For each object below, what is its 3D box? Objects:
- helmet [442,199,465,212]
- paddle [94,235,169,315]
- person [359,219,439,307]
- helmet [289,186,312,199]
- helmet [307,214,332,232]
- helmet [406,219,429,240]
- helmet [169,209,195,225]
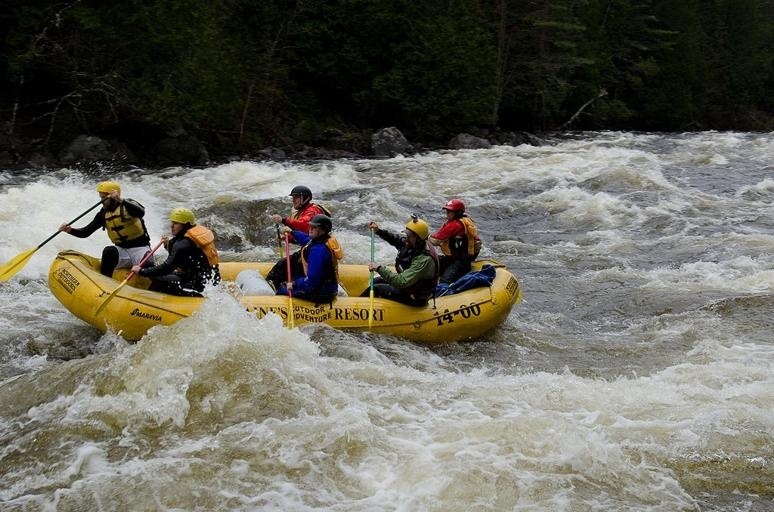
[{"bbox_3d":[1.238,-0.897,14.324,0.486,0.174,0.305,1,0,-13],"label":"helmet"},{"bbox_3d":[-4.076,0.347,12.786,2.046,0.225,0.139,-38,9,-12],"label":"paddle"},{"bbox_3d":[0.193,0.173,13.785,1.188,1.637,0.927,6,58,-17],"label":"person"},{"bbox_3d":[-1.523,-1.122,14.123,0.325,0.151,0.224,-6,9,-16],"label":"helmet"},{"bbox_3d":[-1.061,-0.518,12.832,0.325,0.320,0.298,-1,20,-7],"label":"helmet"},{"bbox_3d":[0.518,-0.454,12.913,0.409,0.297,0.308,37,10,-4],"label":"helmet"},{"bbox_3d":[-3.182,-0.615,12.741,0.509,0.205,0.352,7,1,-42],"label":"helmet"}]
